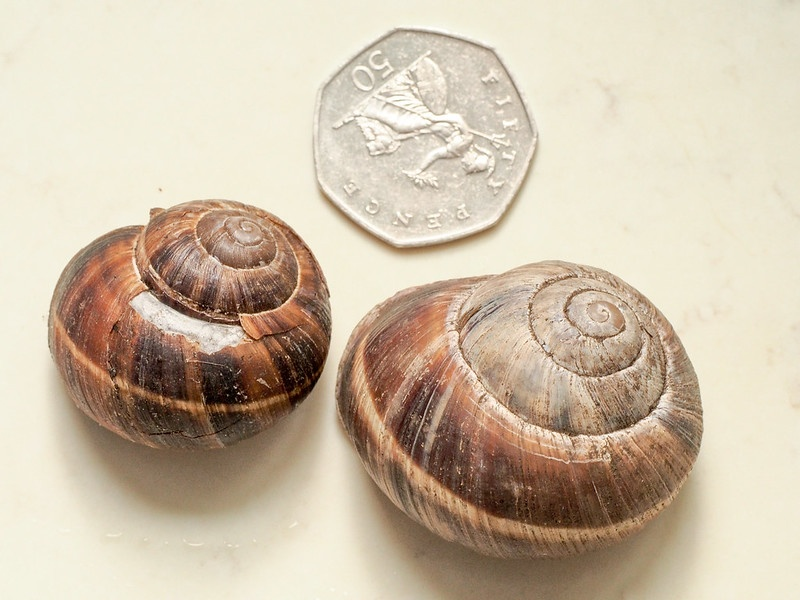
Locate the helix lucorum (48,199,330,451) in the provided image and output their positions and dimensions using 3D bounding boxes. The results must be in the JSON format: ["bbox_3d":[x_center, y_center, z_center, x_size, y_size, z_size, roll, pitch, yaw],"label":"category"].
[{"bbox_3d":[-0.393,0.049,1.619,0.517,0.429,0.262,-2,20,-22],"label":"helix lucorum"}]
